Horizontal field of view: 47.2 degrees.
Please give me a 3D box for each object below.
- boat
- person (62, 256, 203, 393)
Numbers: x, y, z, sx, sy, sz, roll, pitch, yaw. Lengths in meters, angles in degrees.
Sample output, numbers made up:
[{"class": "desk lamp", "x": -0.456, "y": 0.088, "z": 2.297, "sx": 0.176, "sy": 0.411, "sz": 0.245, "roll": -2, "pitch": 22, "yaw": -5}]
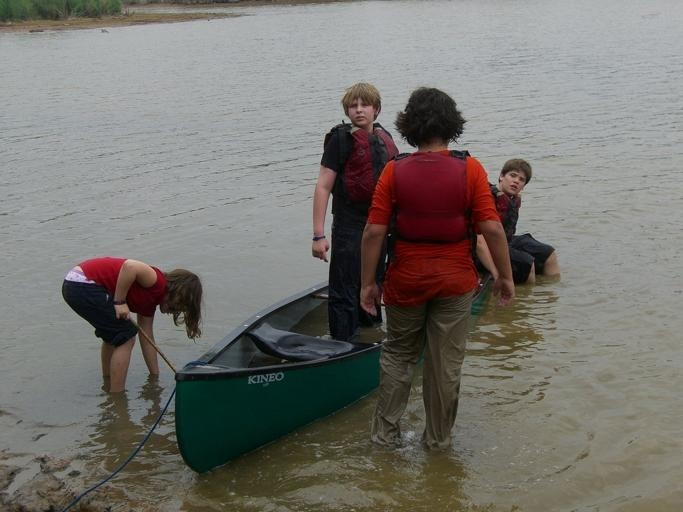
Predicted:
[{"class": "boat", "x": -0.262, "y": 0.992, "z": 6.551, "sx": 0.780, "sy": 0.453, "sz": 2.763, "roll": 14, "pitch": 16, "yaw": 35}, {"class": "person", "x": -1.844, "y": 0.602, "z": 6.538, "sx": 0.716, "sy": 0.968, "sz": 1.367, "roll": -4, "pitch": -8, "yaw": 41}]
